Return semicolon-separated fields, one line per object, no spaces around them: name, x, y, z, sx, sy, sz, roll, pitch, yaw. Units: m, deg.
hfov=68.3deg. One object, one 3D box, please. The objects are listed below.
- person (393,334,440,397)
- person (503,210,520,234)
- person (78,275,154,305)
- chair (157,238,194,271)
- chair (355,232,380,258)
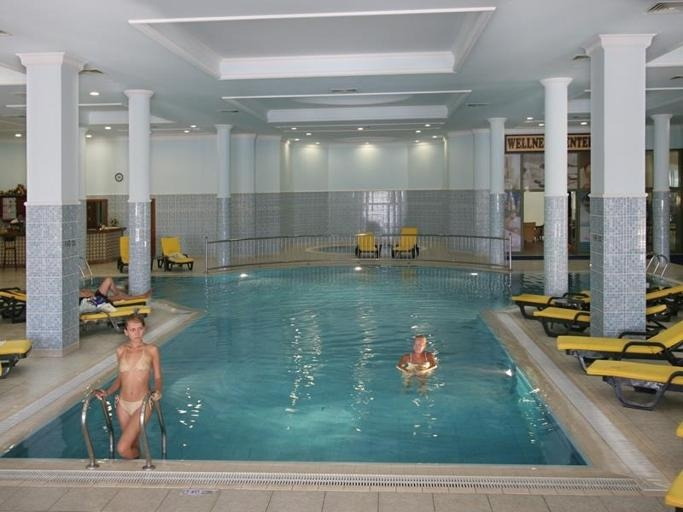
person;1.079;1.435;7.175;0.630;0.566;1.090;2;8;11
person;6.910;-1.296;20.094;0.667;0.969;0.522;5;10;28
person;-5.009;0.766;11.098;1.642;0.537;0.607;-10;14;-34
chair;-5.573;-0.054;17.016;1.231;1.065;1.497;-4;8;-40
chair;0.954;-0.394;18.695;1.082;1.120;0.946;-1;2;-12
